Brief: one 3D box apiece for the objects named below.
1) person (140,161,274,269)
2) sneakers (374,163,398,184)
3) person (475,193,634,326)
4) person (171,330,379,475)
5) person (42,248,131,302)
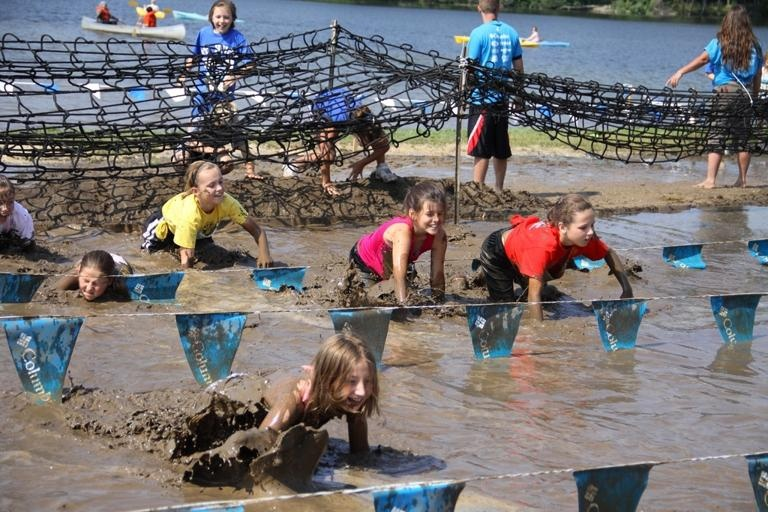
[{"bbox_3d":[-2.226,-0.481,15.330,1.342,1.311,2.005,-13,22,-20],"label":"person"},{"bbox_3d":[0.088,-1.143,17.536,0.203,0.154,0.387,-14,17,-35],"label":"sneakers"},{"bbox_3d":[1.848,0.039,14.341,1.779,1.173,1.226,7,20,43],"label":"person"},{"bbox_3d":[-1.029,1.427,12.658,2.261,1.013,1.506,-1,10,33],"label":"person"},{"bbox_3d":[-3.214,0.231,14.568,1.163,0.405,1.329,-1,2,-16],"label":"person"}]
